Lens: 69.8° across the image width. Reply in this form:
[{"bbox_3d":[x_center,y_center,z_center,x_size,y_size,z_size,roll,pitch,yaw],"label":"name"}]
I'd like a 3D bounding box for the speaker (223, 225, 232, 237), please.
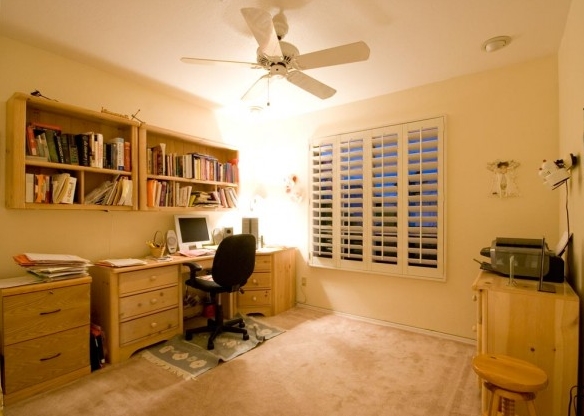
[{"bbox_3d":[-0.803,0.299,5.250,0.155,0.149,0.155,-2,-3,20],"label":"speaker"}]

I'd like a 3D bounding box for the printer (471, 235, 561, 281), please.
[{"bbox_3d":[2.041,0.442,3.739,0.701,0.326,0.523,2,1,28],"label":"printer"}]

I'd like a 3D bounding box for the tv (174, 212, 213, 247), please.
[{"bbox_3d":[-1.197,0.268,5.000,0.141,0.390,0.395,-19,-12,42],"label":"tv"}]

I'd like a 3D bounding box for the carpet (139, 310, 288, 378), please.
[{"bbox_3d":[-0.841,1.427,4.346,1.225,0.248,0.722,3,-4,-43],"label":"carpet"}]

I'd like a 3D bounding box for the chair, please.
[{"bbox_3d":[-0.779,0.825,4.570,0.664,1.112,0.739,2,2,34],"label":"chair"}]

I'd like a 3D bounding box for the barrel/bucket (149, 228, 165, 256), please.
[{"bbox_3d":[-1.497,0.387,4.709,0.174,0.279,0.171,-2,-2,0],"label":"barrel/bucket"}]

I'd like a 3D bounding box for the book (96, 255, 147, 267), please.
[{"bbox_3d":[-1.731,0.540,4.251,0.499,0.063,0.381,-1,-3,34],"label":"book"}]
